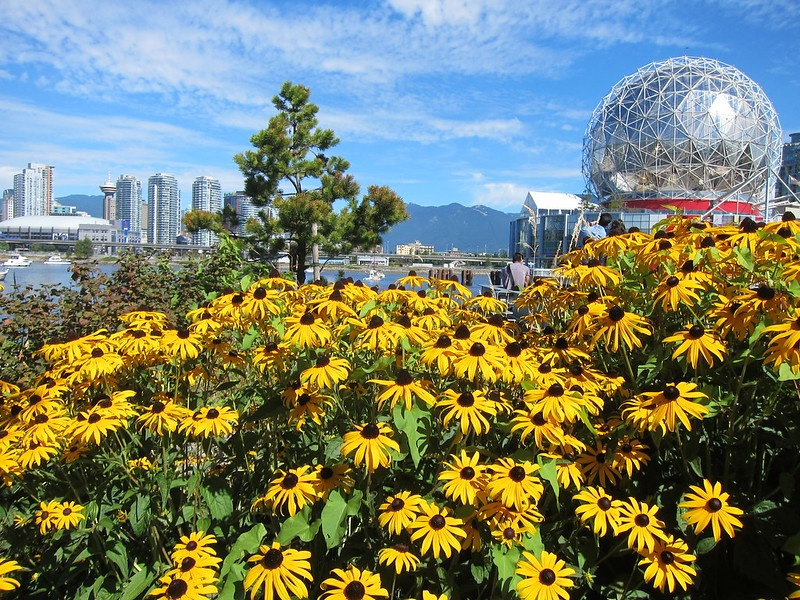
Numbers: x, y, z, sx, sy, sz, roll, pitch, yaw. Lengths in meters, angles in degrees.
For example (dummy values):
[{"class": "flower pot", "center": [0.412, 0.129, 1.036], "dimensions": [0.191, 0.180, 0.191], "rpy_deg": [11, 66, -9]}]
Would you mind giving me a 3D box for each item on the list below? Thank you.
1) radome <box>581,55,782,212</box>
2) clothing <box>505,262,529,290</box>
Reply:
[{"class": "radome", "center": [22.470, -12.810, 56.707], "dimensions": [14.782, 13.243, 14.483], "rpy_deg": [4, -2, -39]}, {"class": "clothing", "center": [2.140, -0.418, 12.638], "dimensions": [0.475, 0.592, 0.317], "rpy_deg": [11, 13, 29]}]
